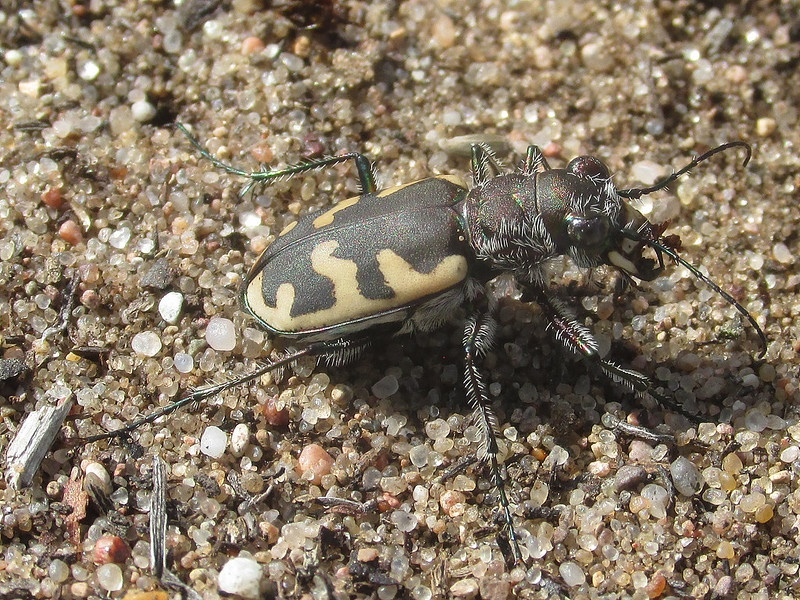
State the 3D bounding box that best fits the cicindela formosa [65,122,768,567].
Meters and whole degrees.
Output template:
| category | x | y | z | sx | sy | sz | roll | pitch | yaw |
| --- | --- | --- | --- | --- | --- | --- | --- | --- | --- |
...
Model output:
| category | x | y | z | sx | sy | sz | roll | pitch | yaw |
| --- | --- | --- | --- | --- | --- | --- | --- | --- | --- |
| cicindela formosa | 0.109 | -0.130 | 4.785 | 2.772 | 0.838 | 2.510 | 1 | 66 | 1 |
